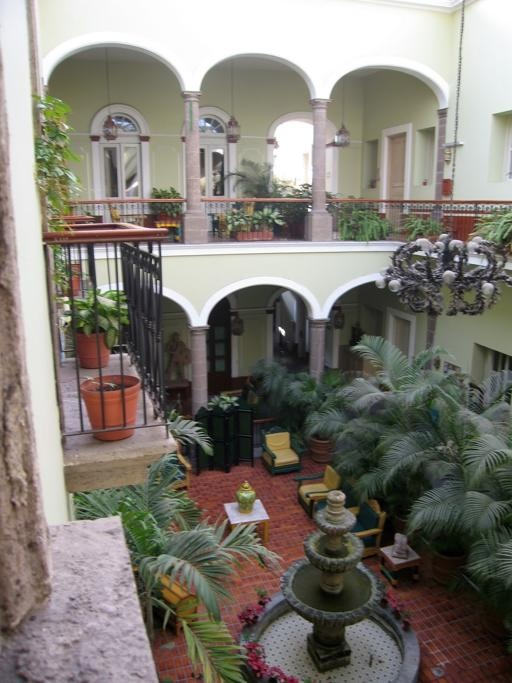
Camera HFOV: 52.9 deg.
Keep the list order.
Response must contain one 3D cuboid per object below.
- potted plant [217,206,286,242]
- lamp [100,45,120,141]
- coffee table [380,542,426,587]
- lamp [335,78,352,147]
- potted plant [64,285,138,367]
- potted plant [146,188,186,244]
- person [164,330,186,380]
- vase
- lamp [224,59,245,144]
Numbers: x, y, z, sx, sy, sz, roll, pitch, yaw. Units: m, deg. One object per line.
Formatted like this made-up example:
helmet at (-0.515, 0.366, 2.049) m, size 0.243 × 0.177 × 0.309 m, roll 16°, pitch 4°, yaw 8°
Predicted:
potted plant at (-0.134, -2.688, 12.072) m, size 1.354 × 0.566 × 1.176 m, roll -1°, pitch 26°, yaw -5°
lamp at (-3.585, -5.929, 12.470) m, size 0.371 × 2.096 × 1.426 m, roll -5°, pitch 12°, yaw -13°
coffee table at (2.040, 3.061, 7.196) m, size 0.573 × 0.505 × 0.544 m, roll -4°, pitch 16°, yaw -11°
lamp at (2.348, -6.293, 14.193) m, size 0.467 × 1.952 × 1.727 m, roll 0°, pitch 11°, yaw 9°
potted plant at (-1.272, -0.057, 4.037) m, size 0.488 × 0.464 × 0.513 m, roll -2°, pitch -3°, yaw 8°
potted plant at (-2.288, -3.073, 12.434) m, size 0.937 × 1.081 × 0.832 m, roll 4°, pitch 11°, yaw 26°
person at (-2.167, 0.388, 13.987) m, size 0.632 × 1.303 × 0.570 m, roll -4°, pitch 12°, yaw -9°
vase at (-0.988, 0.426, 3.475) m, size 0.474 × 0.354 × 0.481 m, roll -5°, pitch 13°, yaw -24°
lamp at (-0.628, -6.381, 13.708) m, size 0.415 × 2.034 × 0.696 m, roll -2°, pitch 11°, yaw -1°
